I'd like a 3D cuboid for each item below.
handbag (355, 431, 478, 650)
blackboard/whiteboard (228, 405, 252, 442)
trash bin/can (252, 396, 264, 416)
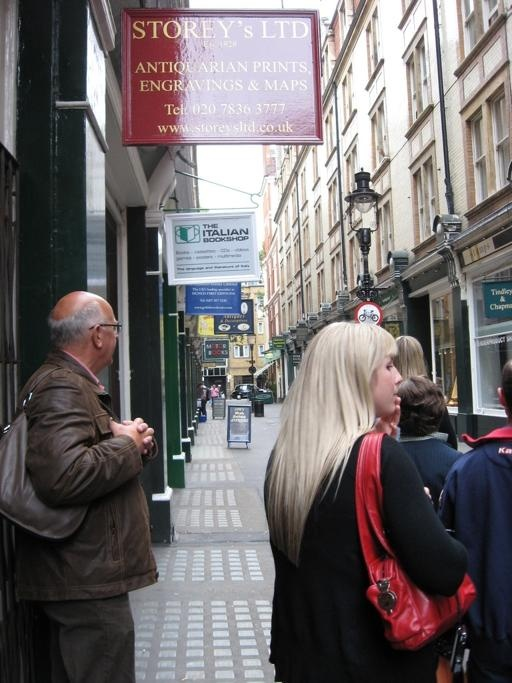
[{"bbox_3d":[0.341,0.405,1.207,0.269,0.306,0.133,-2,-1,-19],"label":"handbag"},{"bbox_3d":[-0.526,2.422,17.222,0.753,1.103,0.595,-2,-1,8],"label":"blackboard/whiteboard"},{"bbox_3d":[0.182,3.995,35.913,0.766,1.639,0.861,0,-2,-20],"label":"trash bin/can"}]
